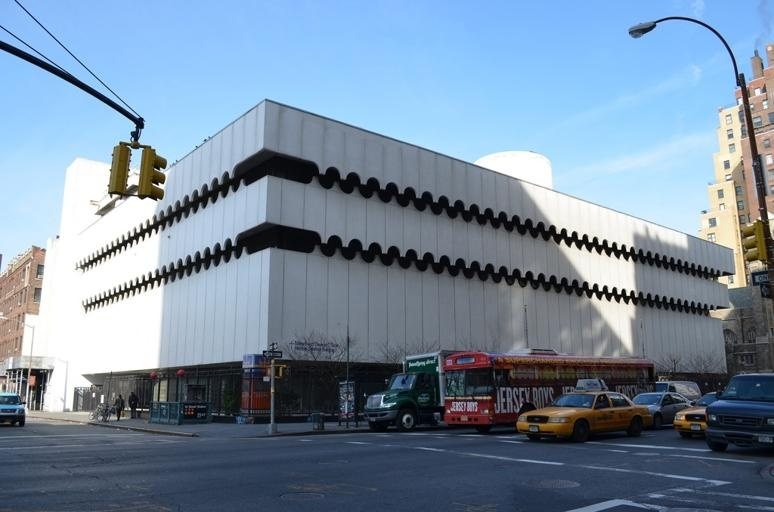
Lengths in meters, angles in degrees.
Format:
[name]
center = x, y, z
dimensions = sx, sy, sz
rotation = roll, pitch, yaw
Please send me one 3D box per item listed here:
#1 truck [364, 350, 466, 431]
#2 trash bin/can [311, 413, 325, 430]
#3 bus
[truck]
center = 0.951, 7.565, 34.061
dimensions = 2.746, 3.761, 6.686
rotation = -18, -27, 40
[trash bin/can]
center = -3.935, 9.363, 35.040
dimensions = 0.834, 1.689, 0.877
rotation = 1, -14, -7
[bus]
center = 9.150, 7.824, 34.462
dimensions = 13.003, 4.152, 4.279
rotation = 9, -19, -27
